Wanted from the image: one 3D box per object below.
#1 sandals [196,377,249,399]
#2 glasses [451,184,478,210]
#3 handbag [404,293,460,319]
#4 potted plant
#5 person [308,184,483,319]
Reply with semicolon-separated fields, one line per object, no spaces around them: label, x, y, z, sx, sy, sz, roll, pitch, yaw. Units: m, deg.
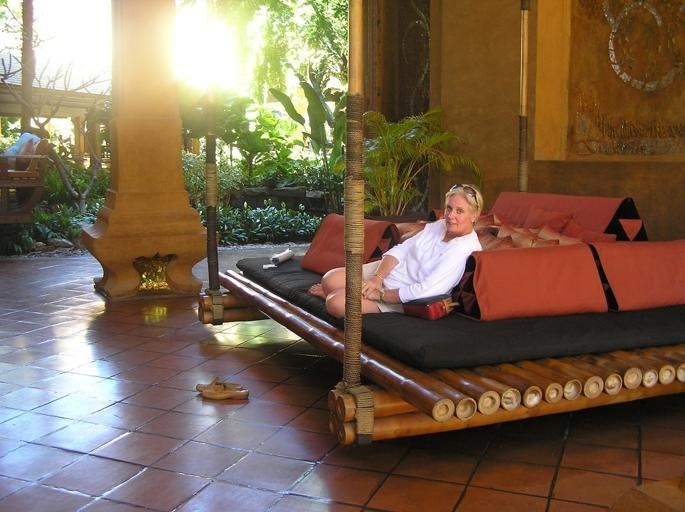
sandals;-0.710;0.758;3.261;0.284;0.072;0.310;-3;10;-15
glasses;0.684;-0.329;3.105;0.154;0.136;0.045;20;54;29
handbag;0.446;0.248;2.899;0.179;0.053;0.162;-10;10;-28
potted plant;0.926;-0.836;6.026;1.796;1.293;1.801;7;6;39
person;0.297;0.021;3.244;0.956;0.907;0.579;3;33;-2
